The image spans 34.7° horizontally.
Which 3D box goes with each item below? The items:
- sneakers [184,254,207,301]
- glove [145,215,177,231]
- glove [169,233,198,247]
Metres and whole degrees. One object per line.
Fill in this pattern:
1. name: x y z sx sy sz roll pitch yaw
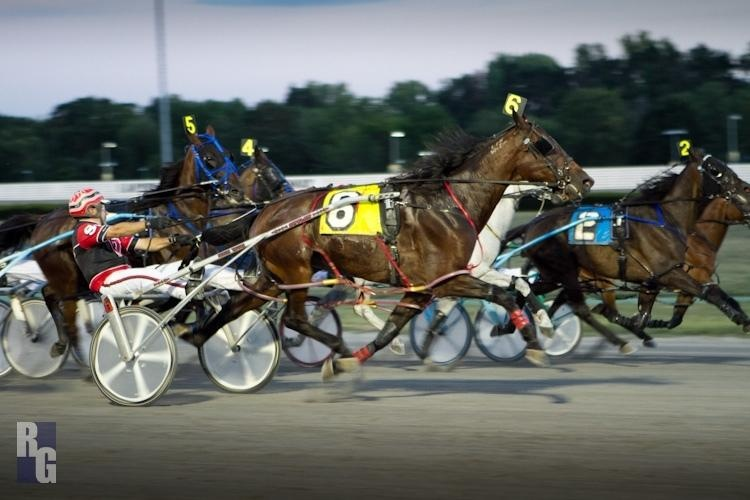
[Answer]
1. sneakers: -1.799 0.288 11.861 0.199 0.412 0.185 16 27 2
2. glove: -2.116 -0.257 11.863 0.254 0.072 0.135 2 44 -7
3. glove: -1.871 -0.095 11.769 0.256 0.113 0.170 0 4 13
